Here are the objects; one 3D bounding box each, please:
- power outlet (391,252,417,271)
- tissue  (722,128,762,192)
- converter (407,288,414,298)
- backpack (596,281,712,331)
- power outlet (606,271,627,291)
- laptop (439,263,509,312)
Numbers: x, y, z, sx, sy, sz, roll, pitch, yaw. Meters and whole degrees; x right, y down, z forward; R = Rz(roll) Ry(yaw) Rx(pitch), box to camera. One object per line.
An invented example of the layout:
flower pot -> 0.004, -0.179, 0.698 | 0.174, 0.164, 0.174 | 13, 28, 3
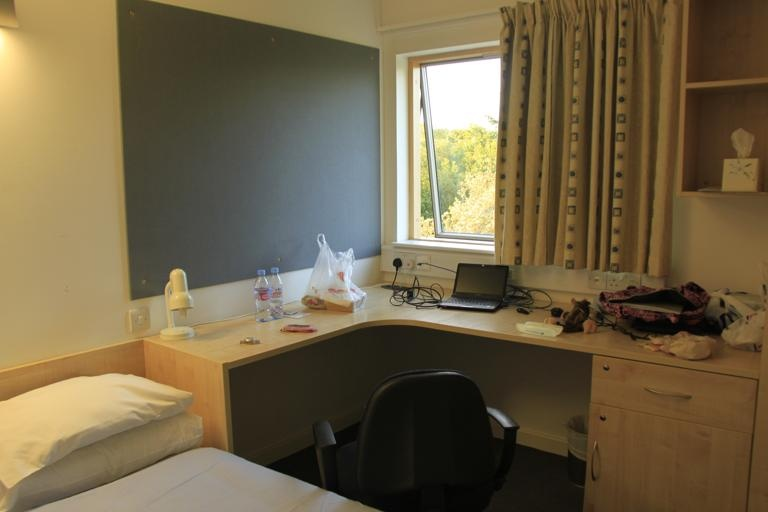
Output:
power outlet -> 0.156, 0.053, 4.030 | 0.165, 0.120, 0.059 | 4, 15, 26
tissue  -> 1.855, -0.502, 2.877 | 0.162, 0.337, 0.274 | 3, 8, 32
converter -> 0.176, 0.252, 3.698 | 0.049, 0.093, 0.050 | -1, -8, 26
backpack -> 1.489, 0.288, 3.027 | 0.354, 0.159, 0.362 | 0, 0, 41
power outlet -> 1.397, 0.158, 3.369 | 0.116, 0.111, 0.031 | 3, 3, 44
laptop -> 0.593, 0.145, 3.562 | 0.356, 0.222, 0.333 | 3, 6, 26
